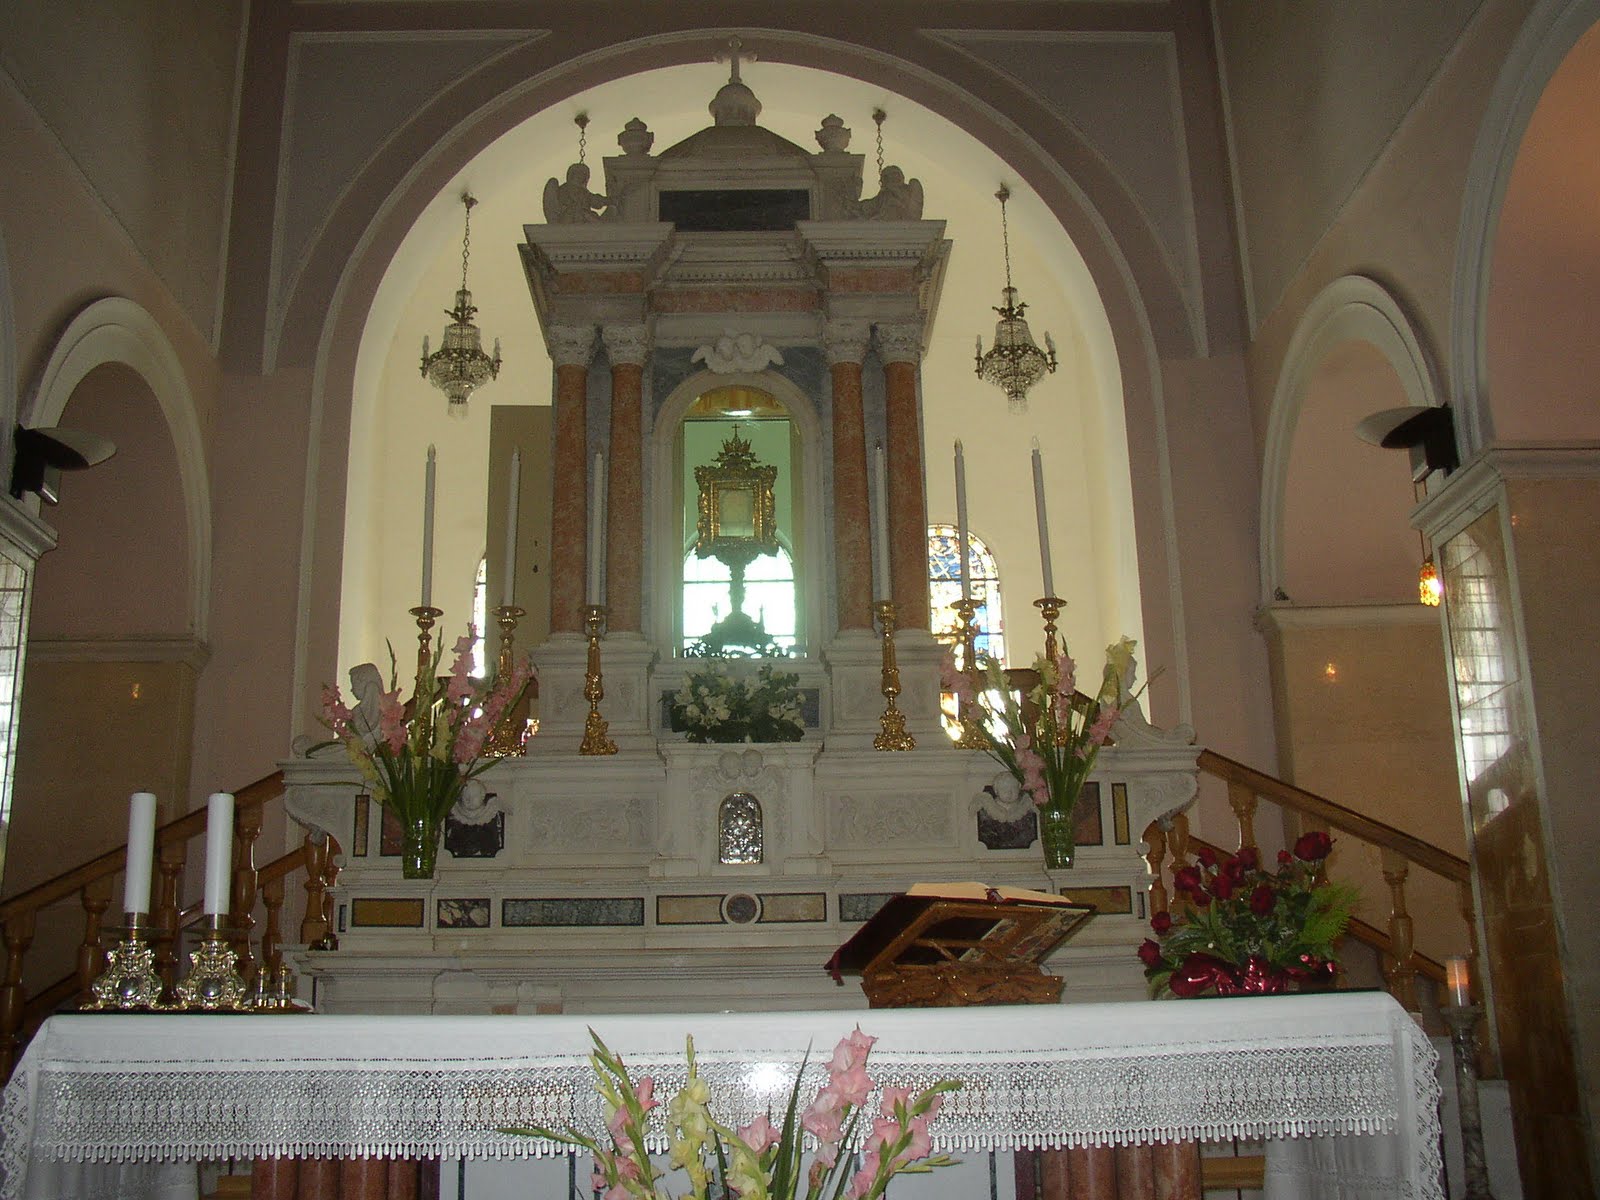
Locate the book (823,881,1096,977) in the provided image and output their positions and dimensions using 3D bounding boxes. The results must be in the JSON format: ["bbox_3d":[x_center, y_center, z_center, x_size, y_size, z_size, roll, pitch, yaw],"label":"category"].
[{"bbox_3d":[0.442,0.893,4.075,0.694,0.238,0.412,-1,-13,-4],"label":"book"}]

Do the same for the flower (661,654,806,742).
[{"bbox_3d":[-0.271,0.430,6.535,0.416,0.331,0.405,4,-22,-5],"label":"flower"}]

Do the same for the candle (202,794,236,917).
[{"bbox_3d":[-1.542,0.679,3.951,0.059,0.360,0.215,4,-14,-22],"label":"candle"}]

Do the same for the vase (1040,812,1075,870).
[{"bbox_3d":[1.037,0.935,5.799,0.192,0.220,0.112,9,-17,-39],"label":"vase"}]

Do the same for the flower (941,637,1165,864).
[{"bbox_3d":[1.050,0.582,6.162,0.830,0.993,0.862,-3,-11,-7],"label":"flower"}]

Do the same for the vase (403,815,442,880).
[{"bbox_3d":[-1.455,0.953,5.743,0.138,0.233,0.096,3,-14,-20],"label":"vase"}]

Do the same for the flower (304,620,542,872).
[{"bbox_3d":[-1.484,0.627,5.956,0.638,0.944,0.841,-1,-4,24],"label":"flower"}]

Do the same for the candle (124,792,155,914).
[{"bbox_3d":[-1.743,0.672,3.936,0.063,0.320,0.246,4,-14,-24],"label":"candle"}]

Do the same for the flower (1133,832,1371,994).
[{"bbox_3d":[1.284,0.878,4.282,0.525,0.448,0.468,9,-17,-31],"label":"flower"}]
